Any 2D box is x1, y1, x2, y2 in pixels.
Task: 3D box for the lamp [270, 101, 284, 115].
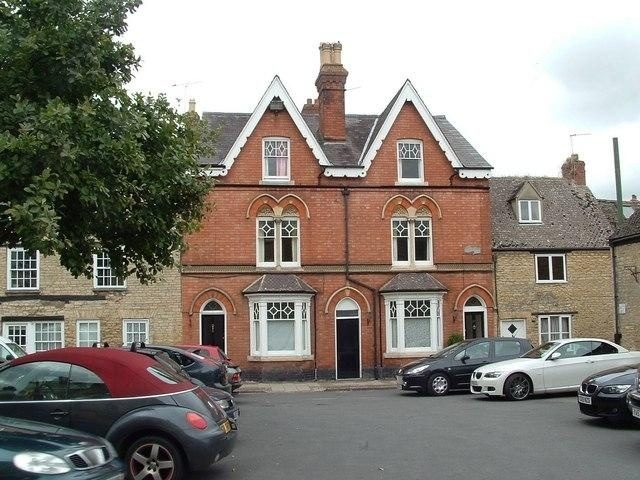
[{"bbox_3d":[-1.699,-5.044,35.420,0.485,0.481,0.333,0,10,-16],"label":"lamp"}]
